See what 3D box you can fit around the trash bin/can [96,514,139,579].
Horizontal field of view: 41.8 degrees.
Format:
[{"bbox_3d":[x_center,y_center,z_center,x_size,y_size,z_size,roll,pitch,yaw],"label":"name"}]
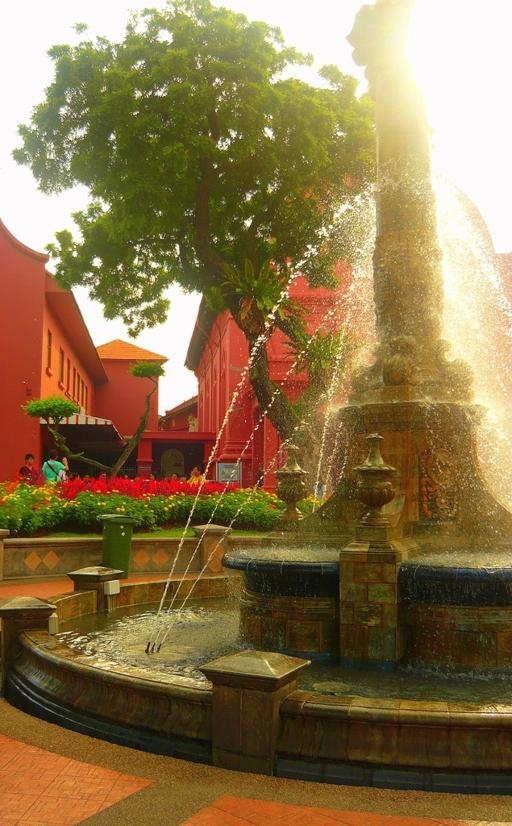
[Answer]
[{"bbox_3d":[-2.464,2.383,11.941,0.571,1.139,0.937,0,-7,-13],"label":"trash bin/can"}]
